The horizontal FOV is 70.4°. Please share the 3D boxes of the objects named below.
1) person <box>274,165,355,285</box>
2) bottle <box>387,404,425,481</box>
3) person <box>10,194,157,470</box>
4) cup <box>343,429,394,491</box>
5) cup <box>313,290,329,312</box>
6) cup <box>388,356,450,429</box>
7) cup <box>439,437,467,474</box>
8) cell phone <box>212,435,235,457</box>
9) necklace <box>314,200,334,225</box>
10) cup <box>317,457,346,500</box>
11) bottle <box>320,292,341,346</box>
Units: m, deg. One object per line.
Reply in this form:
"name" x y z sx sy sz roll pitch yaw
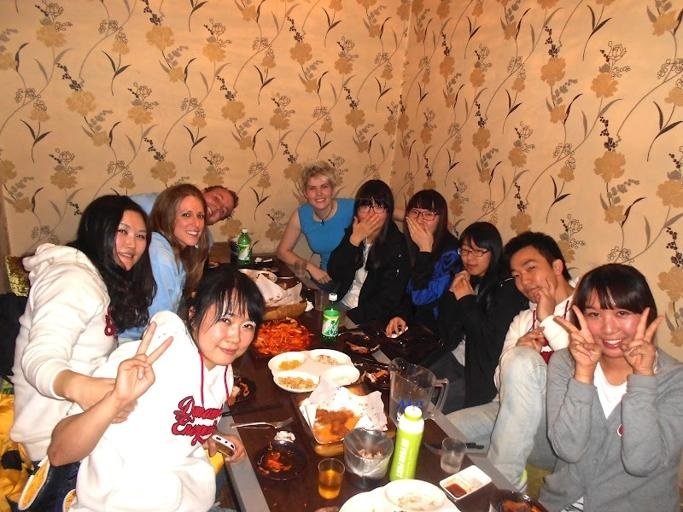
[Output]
"person" -0.239 -0.254 3.922 0.751 0.980 0.584 -7 55 -1
"bottle" 0.246 0.688 1.803 0.146 0.279 0.142 -4 5 0
"person" -1.025 0.321 1.958 0.520 1.344 0.616 7 28 -26
"cup" 0.106 0.750 1.841 0.192 0.191 0.139 -5 5 -12
"cup" -0.123 0.254 2.863 0.098 0.119 0.105 1 10 0
"cup" 0.336 0.590 2.183 0.270 0.287 0.211 20 19 19
"cup" 0.425 0.759 1.860 0.098 0.120 0.109 7 13 2
"cell phone" -0.462 0.750 1.918 0.069 0.068 0.070 27 46 19
"necklace" -0.126 -0.352 3.927 0.181 0.165 0.203 -2 -15 3
"cup" -0.033 0.794 1.775 0.107 0.131 0.117 2 11 0
"bottle" -0.064 0.338 2.584 0.128 0.338 0.133 6 20 -2
